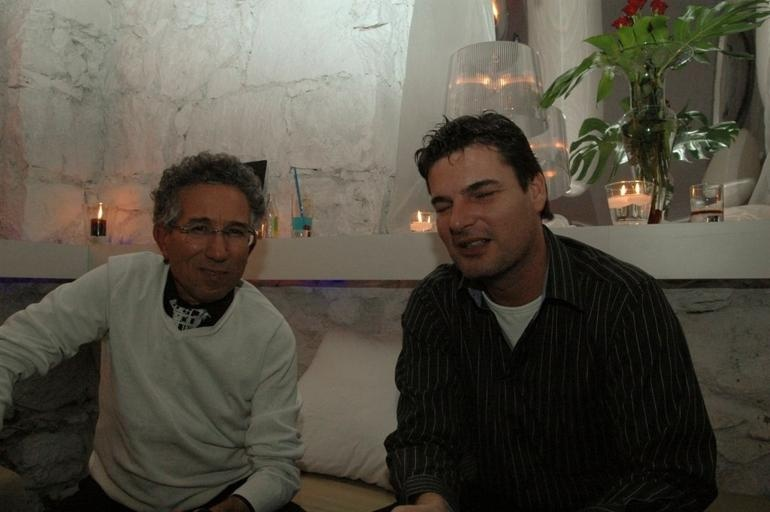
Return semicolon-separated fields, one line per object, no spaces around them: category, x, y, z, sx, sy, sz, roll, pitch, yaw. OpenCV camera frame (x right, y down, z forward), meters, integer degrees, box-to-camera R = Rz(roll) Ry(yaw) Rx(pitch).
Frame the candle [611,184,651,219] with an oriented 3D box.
candle;0.933;-0.211;2.419;0.138;0.149;0.133;-1;-2;-2

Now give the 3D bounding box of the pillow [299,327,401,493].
pillow;-0.146;0.627;2.670;0.506;0.521;0.158;3;-12;36

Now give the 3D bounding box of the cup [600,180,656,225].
cup;0.932;-0.202;2.422;0.152;0.144;0.173;-1;0;42

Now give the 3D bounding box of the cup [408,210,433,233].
cup;0.158;-0.154;2.794;0.097;0.095;0.094;0;4;0

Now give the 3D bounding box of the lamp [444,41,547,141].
lamp;0.440;-0.684;2.723;0.400;0.289;0.400;3;-7;-32

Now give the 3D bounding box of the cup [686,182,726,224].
cup;1.202;-0.193;2.361;0.133;0.156;0.139;1;-2;0
